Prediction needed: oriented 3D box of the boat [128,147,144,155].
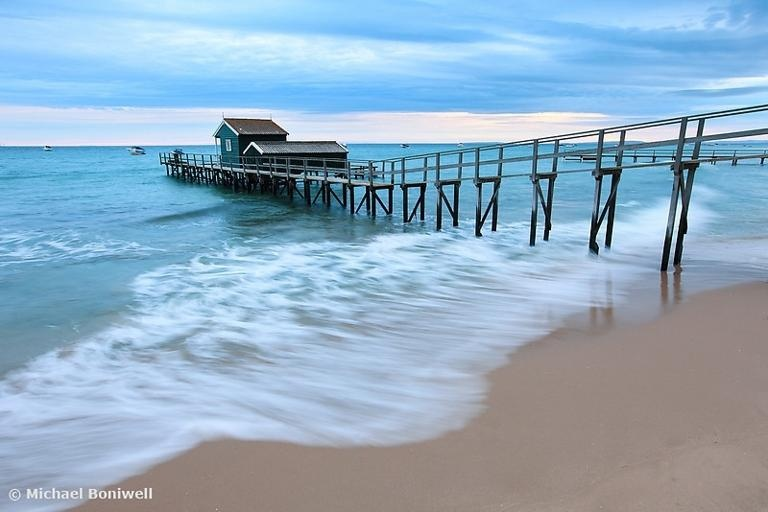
[{"bbox_3d":[-57.762,-24.757,137.824,2.515,2.145,8.051,-8,16,-24],"label":"boat"}]
